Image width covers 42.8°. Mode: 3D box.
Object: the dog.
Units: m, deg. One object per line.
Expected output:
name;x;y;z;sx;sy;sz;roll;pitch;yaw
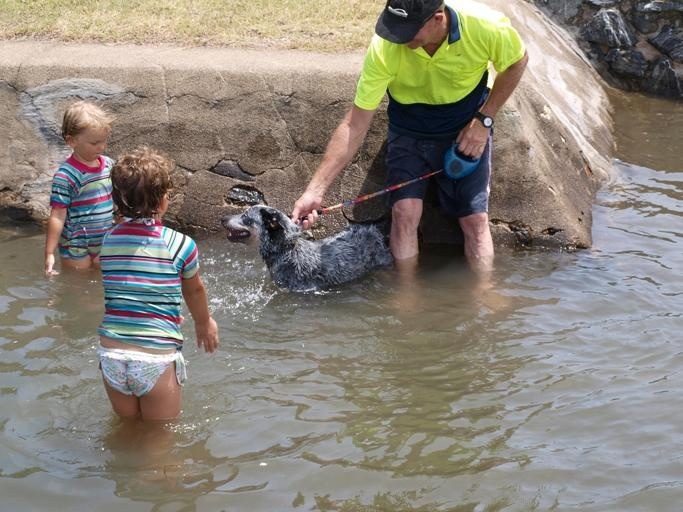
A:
dog;-0.438;0.043;10.297;2.437;0.978;0.858;5;10;-39
